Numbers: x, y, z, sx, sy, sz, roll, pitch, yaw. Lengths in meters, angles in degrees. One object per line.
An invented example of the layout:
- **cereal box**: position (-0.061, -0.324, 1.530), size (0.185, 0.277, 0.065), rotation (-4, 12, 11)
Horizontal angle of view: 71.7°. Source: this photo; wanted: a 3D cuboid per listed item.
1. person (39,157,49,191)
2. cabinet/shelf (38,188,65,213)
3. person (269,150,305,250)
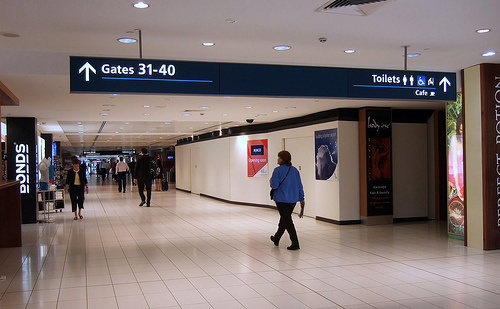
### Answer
- **person**: position (-7.803, 0.732, 13.055), size (0.328, 1.142, 1.201), rotation (-1, 2, -32)
- **cabinet/shelf**: position (-7.635, 1.761, 13.246), size (1.206, 1.022, 0.413), rotation (0, 3, -38)
- **person**: position (0.902, 1.093, 8.362), size (0.770, 2.351, 0.702), rotation (0, 1, 8)
